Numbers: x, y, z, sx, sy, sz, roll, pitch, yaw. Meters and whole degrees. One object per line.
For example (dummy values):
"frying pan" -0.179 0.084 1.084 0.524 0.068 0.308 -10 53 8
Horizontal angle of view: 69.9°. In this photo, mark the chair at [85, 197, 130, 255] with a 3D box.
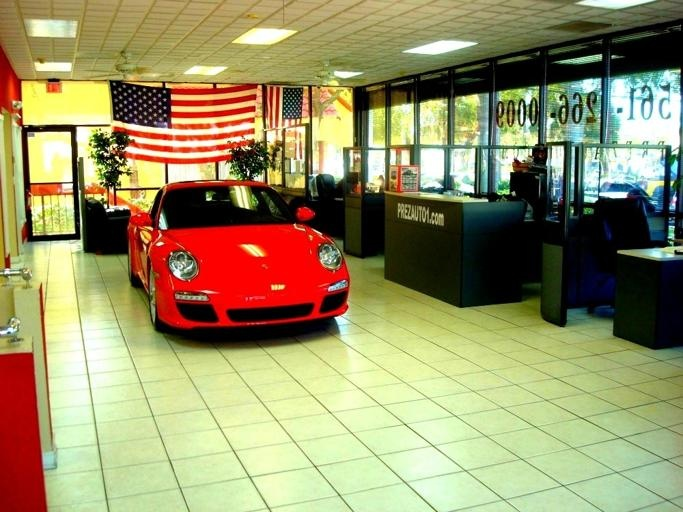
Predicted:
"chair" -4.576 -0.528 9.894 1.135 0.657 0.643 11 0 -31

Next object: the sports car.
"sports car" -1.022 -0.069 4.826 1.396 0.779 2.585 -3 10 -22
